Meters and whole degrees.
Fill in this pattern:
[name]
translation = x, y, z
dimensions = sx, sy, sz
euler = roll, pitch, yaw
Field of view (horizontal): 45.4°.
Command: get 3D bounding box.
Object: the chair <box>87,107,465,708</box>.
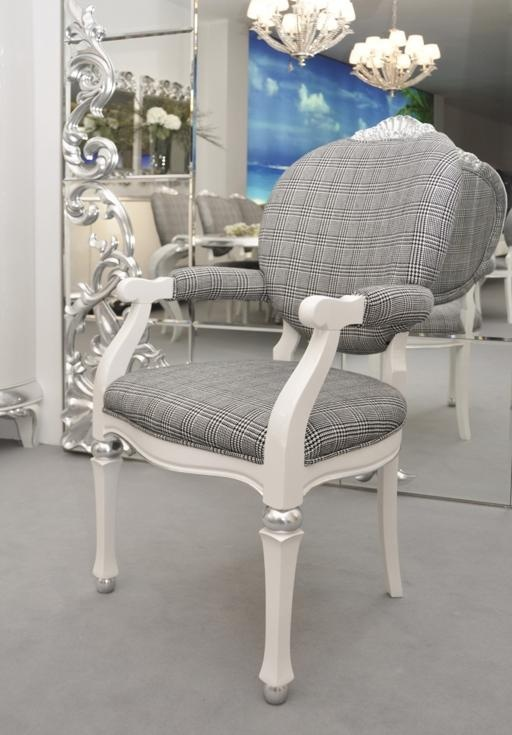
[chair]
translation = 0.068, -0.010, 1.089
dimensions = 0.606, 0.893, 0.548
euler = -7, 14, -29
